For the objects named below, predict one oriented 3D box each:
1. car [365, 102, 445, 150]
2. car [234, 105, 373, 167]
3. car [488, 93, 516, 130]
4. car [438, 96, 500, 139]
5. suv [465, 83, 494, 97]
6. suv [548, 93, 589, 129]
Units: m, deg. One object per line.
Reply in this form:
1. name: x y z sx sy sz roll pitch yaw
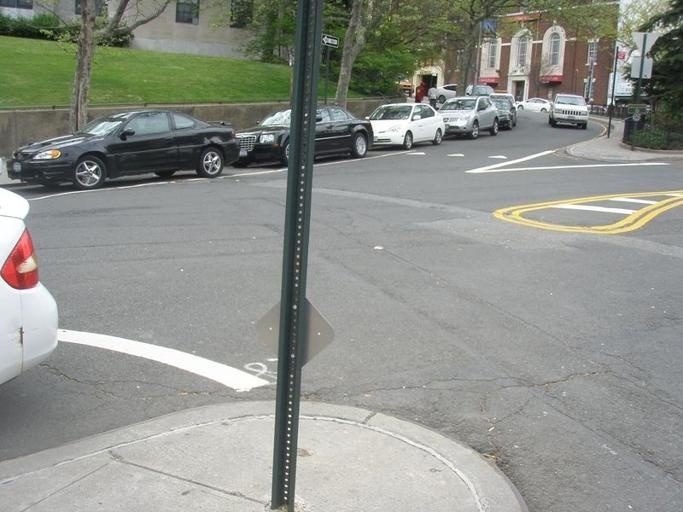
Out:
1. car: 2.497 -5.330 26.985 1.853 1.316 3.019 6 9 34
2. car: -1.189 -3.967 21.607 1.668 1.974 5.299 11 14 34
3. car: 8.996 -8.051 36.636 1.358 1.203 3.001 1 9 16
4. car: 5.999 -6.731 31.854 1.921 1.473 3.352 4 9 30
5. suv: 8.729 -10.561 41.920 1.475 1.009 6.244 6 12 11
6. suv: 13.199 -8.448 38.368 1.814 1.947 2.248 5 11 9
